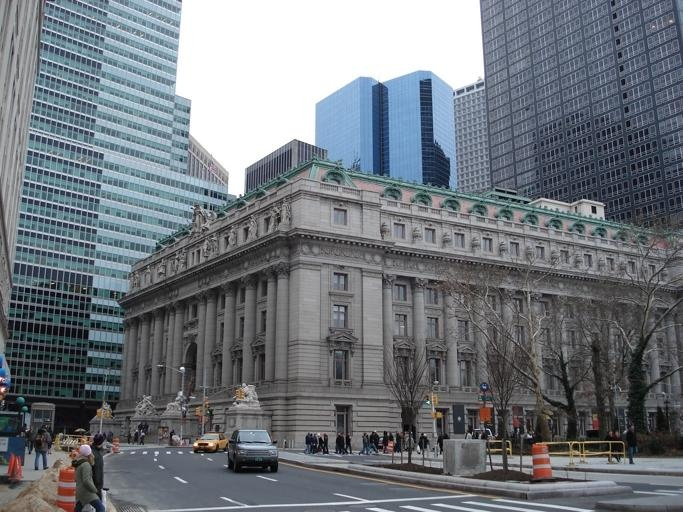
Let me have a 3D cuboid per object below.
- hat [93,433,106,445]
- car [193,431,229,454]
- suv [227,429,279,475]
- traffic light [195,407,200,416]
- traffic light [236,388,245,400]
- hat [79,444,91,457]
[{"bbox_3d":[-9.443,7.075,26.652,0.432,0.442,0.557,0,2,4],"label":"hat"},{"bbox_3d":[-11.771,16.834,61.712,2.085,1.798,3.028,-7,-19,18],"label":"car"},{"bbox_3d":[-5.256,11.761,41.431,2.877,2.601,2.369,1,-19,-6],"label":"suv"},{"bbox_3d":[-17.369,18.976,83.501,0.625,1.133,1.163,5,-13,-29],"label":"traffic light"},{"bbox_3d":[-10.526,14.468,71.579,1.018,0.995,0.997,4,-17,-15],"label":"traffic light"},{"bbox_3d":[-8.849,6.807,23.939,0.468,0.366,0.349,1,-11,-38],"label":"hat"}]
